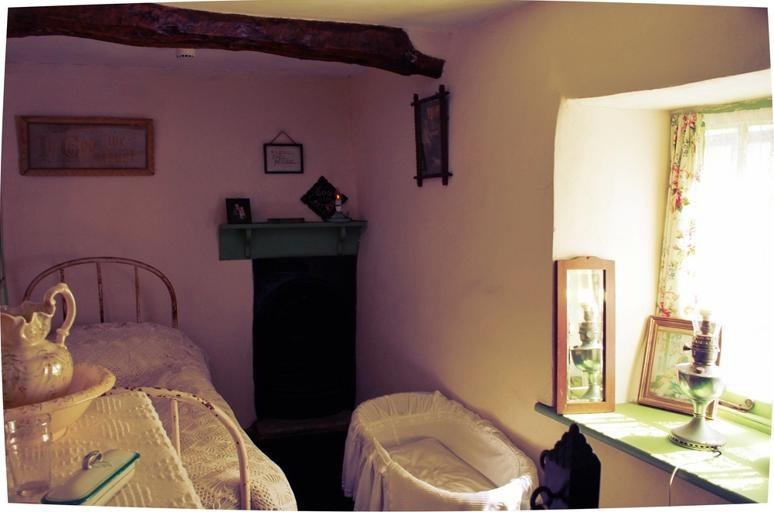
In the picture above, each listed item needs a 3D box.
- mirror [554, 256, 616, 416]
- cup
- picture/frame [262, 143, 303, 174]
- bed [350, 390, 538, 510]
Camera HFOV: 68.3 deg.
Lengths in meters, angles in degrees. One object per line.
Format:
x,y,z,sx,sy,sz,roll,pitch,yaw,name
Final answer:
0.927,0.370,2.669,0.319,0.749,0.049,2,-6,-11,mirror
-1.131,0.621,1.767,0.148,0.233,0.101,-1,6,-8,cup
-0.764,-0.696,4.058,0.236,0.175,0.023,-1,1,-25,picture/frame
0.255,1.002,2.834,0.550,0.261,0.774,1,-3,-19,bed
